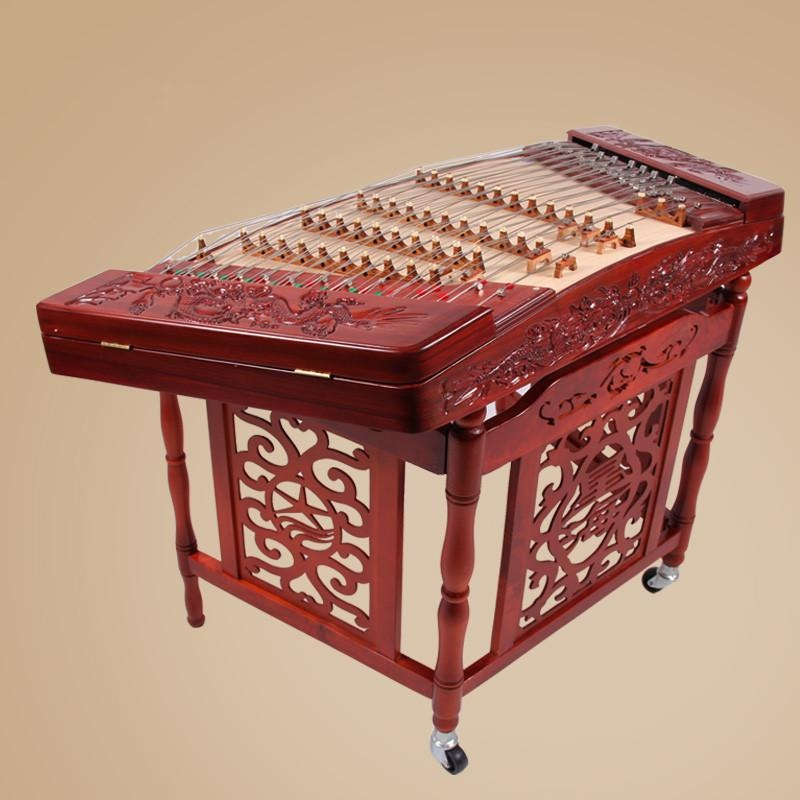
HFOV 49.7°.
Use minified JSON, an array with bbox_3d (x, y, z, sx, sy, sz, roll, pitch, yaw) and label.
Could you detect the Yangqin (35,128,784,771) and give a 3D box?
[{"bbox_3d":[0.107,0.128,1.864,0.874,1.143,1.352,18,36,32],"label":"Yangqin"}]
